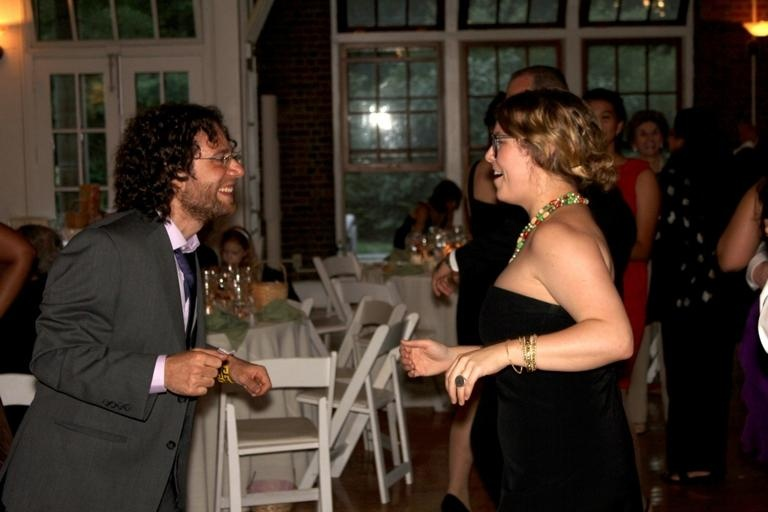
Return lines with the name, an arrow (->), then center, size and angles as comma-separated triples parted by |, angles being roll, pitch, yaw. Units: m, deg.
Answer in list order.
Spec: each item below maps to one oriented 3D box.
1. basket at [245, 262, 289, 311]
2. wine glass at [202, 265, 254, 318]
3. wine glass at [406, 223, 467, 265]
basket -> -0.858, 0.220, 5.328 | 0.329, 0.435, 0.284 | 1, 6, 12
wine glass -> -1.023, 0.231, 4.839 | 0.329, 0.361, 0.349 | -2, -8, -2
wine glass -> 0.462, -0.107, 6.610 | 0.404, 0.170, 0.399 | -11, 6, -4
